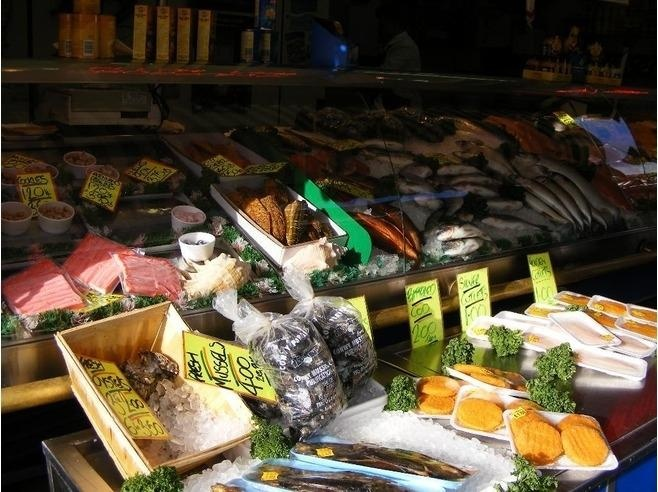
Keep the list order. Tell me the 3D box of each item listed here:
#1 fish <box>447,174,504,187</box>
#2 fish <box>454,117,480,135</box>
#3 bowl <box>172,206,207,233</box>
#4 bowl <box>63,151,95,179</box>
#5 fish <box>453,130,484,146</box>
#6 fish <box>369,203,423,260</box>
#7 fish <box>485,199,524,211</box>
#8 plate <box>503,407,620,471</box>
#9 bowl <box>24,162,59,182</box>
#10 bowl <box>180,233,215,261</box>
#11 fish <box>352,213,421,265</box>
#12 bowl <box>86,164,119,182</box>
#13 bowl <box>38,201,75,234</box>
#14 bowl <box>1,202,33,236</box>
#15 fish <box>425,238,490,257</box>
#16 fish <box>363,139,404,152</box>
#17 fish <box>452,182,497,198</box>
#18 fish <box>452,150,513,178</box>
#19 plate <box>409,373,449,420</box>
[{"bbox_3d":[0.723,-0.331,2.176,0.210,0.039,0.034,4,-15,-16],"label":"fish"},{"bbox_3d":[0.733,-0.633,2.334,0.148,0.038,0.076,13,51,-31],"label":"fish"},{"bbox_3d":[-0.540,-0.106,1.694,0.122,0.067,0.112,7,27,-4],"label":"bowl"},{"bbox_3d":[-0.912,-0.307,1.582,0.109,0.062,0.105,17,29,-10],"label":"bowl"},{"bbox_3d":[0.729,-0.560,2.280,0.144,0.036,0.078,17,49,-21],"label":"fish"},{"bbox_3d":[0.328,-0.087,1.966,0.287,0.082,0.163,47,26,3],"label":"fish"},{"bbox_3d":[0.914,-0.206,2.243,0.138,0.071,0.022,-1,4,-27],"label":"fish"},{"bbox_3d":[0.706,0.588,1.336,0.326,0.096,0.189,0,15,0],"label":"plate"},{"bbox_3d":[-1.021,-0.266,1.527,0.073,0.032,0.075,14,38,-11],"label":"bowl"},{"bbox_3d":[-0.496,-0.001,1.648,0.123,0.069,0.113,1,21,0],"label":"bowl"},{"bbox_3d":[0.254,-0.020,2.010,0.318,0.165,0.079,29,-31,-12],"label":"fish"},{"bbox_3d":[-0.833,-0.272,1.603,0.074,0.029,0.068,14,45,-15],"label":"bowl"},{"bbox_3d":[-0.939,-0.090,1.512,0.119,0.065,0.104,6,30,-25],"label":"bowl"},{"bbox_3d":[-1.024,-0.089,1.419,0.101,0.062,0.105,4,19,-1],"label":"bowl"},{"bbox_3d":[0.599,0.009,2.089,0.204,0.105,0.044,-6,-13,-17],"label":"fish"},{"bbox_3d":[0.250,-0.476,2.052,0.205,0.041,0.049,7,15,-9],"label":"fish"},{"bbox_3d":[0.748,-0.282,2.174,0.259,0.064,0.043,5,55,-26],"label":"fish"},{"bbox_3d":[0.776,-0.418,2.221,0.247,0.075,0.090,19,54,-7],"label":"fish"},{"bbox_3d":[0.372,0.520,1.498,0.150,0.053,0.194,4,15,16],"label":"plate"}]
